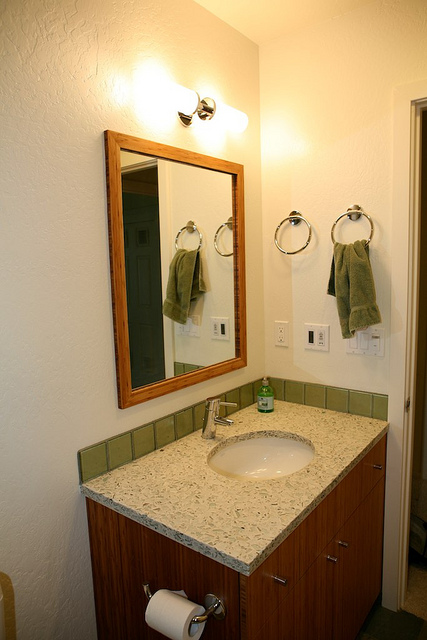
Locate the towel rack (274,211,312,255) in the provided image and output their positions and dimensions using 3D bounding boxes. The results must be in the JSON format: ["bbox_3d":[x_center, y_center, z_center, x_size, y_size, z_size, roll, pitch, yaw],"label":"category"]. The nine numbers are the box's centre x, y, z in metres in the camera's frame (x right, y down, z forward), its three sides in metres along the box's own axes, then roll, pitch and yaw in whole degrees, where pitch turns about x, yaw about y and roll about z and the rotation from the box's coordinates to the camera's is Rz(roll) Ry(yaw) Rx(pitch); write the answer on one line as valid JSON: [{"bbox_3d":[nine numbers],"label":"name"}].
[{"bbox_3d":[0.322,-0.350,1.964,0.127,0.173,0.033,17,20,40],"label":"towel rack"}]

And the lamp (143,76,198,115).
[{"bbox_3d":[-0.124,-0.680,1.463,0.070,0.090,0.181,4,7,33],"label":"lamp"}]

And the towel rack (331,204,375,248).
[{"bbox_3d":[0.495,-0.340,1.755,0.134,0.173,0.036,27,-12,24],"label":"towel rack"}]

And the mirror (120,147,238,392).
[{"bbox_3d":[-0.078,-0.170,1.629,0.040,0.709,0.635,3,7,30],"label":"mirror"}]

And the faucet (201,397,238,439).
[{"bbox_3d":[0.010,0.332,1.616,0.127,0.142,0.046,15,14,28],"label":"faucet"}]

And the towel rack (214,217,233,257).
[{"bbox_3d":[0.037,-0.314,1.811,0.028,0.131,0.094,10,1,41],"label":"towel rack"}]
